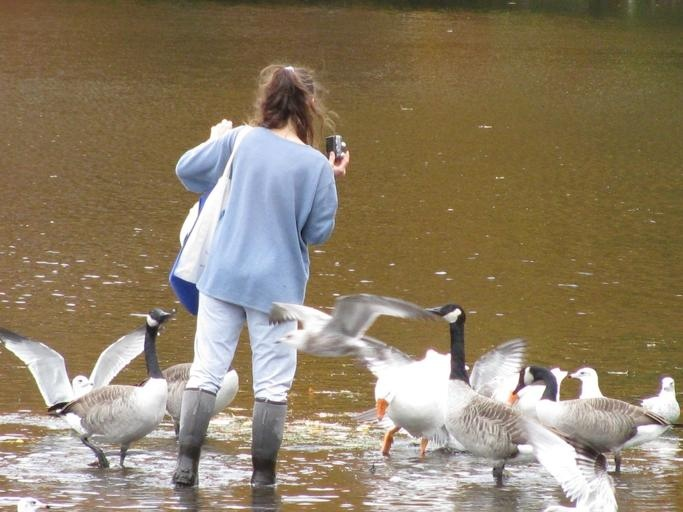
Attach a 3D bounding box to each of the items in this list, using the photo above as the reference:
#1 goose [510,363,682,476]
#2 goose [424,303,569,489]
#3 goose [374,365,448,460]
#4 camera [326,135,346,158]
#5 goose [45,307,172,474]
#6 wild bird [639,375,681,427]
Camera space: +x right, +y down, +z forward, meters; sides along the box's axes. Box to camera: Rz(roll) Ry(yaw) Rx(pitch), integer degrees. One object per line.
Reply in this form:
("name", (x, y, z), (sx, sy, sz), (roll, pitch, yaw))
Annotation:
("goose", (2.959, 1.877, 16.730), (1.894, 1.192, 0.703), (-1, -2, 1))
("goose", (2.124, 1.739, 16.419), (2.471, 2.603, 1.044), (-2, -21, 19))
("goose", (0.936, 1.943, 17.207), (0.586, 0.997, 1.761), (-1, 0, 30))
("camera", (-0.092, -1.210, 15.850), (0.277, 0.294, 0.243), (0, 0, 21))
("goose", (-2.559, 1.548, 16.458), (1.767, 1.771, 0.691), (-4, -6, 22))
("wild bird", (4.032, 1.770, 17.675), (0.616, 0.523, 0.704), (4, 6, 38))
